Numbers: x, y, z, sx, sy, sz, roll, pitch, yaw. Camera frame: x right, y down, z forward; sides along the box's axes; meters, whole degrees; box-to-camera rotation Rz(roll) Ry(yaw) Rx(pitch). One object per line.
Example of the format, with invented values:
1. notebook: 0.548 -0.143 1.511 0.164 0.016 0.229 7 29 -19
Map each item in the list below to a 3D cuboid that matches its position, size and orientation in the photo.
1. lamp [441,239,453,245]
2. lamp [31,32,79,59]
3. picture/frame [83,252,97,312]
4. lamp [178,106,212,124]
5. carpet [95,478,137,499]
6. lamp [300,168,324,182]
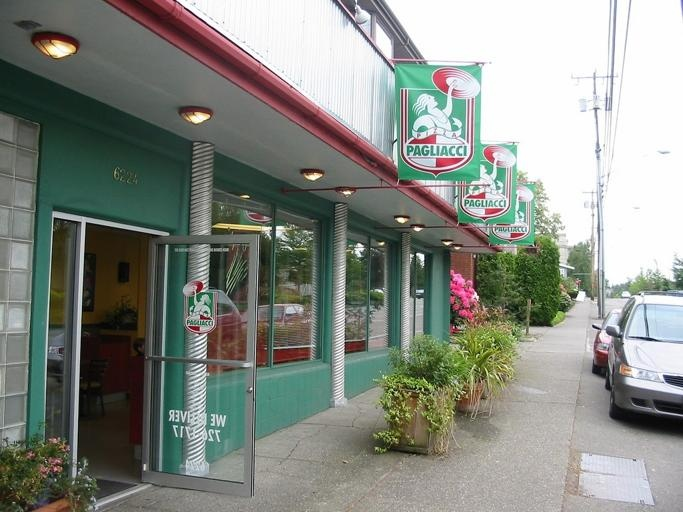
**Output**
1. lamp: 2.963 -0.394 14.894 0.199 0.104 0.206 2 -5 -7
2. lamp: -2.092 -1.554 3.885 0.309 0.093 0.276 0 -6 -32
3. picture/frame: -4.817 0.480 10.137 0.225 1.139 0.364 -1 -5 -28
4. lamp: -1.416 -1.368 5.108 0.357 0.113 0.220 -5 -5 18
5. carpet: -2.323 2.360 5.475 0.386 0.042 0.626 -1 -6 -26
6. lamp: -0.406 -1.098 7.078 0.173 0.084 0.171 3 -3 -43
